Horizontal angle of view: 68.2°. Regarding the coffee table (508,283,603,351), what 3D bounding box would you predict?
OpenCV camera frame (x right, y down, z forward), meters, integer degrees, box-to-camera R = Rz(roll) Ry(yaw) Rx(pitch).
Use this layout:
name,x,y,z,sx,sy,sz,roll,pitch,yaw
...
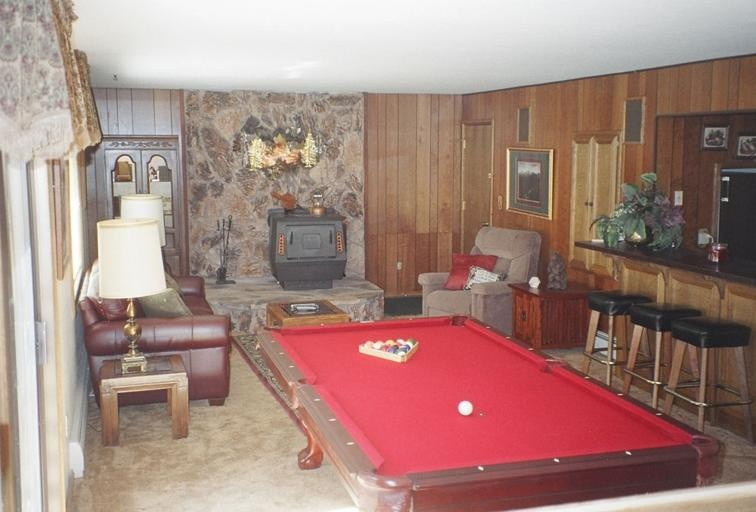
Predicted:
name,x,y,z,sx,sy,sz,roll,pitch,yaw
coffee table,2.072,0.648,7.041,1.033,0.884,0.959,-2,5,-25

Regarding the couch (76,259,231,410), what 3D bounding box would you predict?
name,x,y,z,sx,sy,sz,roll,pitch,yaw
couch,-2.123,0.739,5.489,1.233,0.944,2.033,-3,10,-19

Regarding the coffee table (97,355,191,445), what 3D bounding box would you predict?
name,x,y,z,sx,sy,sz,roll,pitch,yaw
coffee table,-1.990,1.098,4.781,0.747,0.536,0.717,-2,14,-17

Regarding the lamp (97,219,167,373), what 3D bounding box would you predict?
name,x,y,z,sx,sy,sz,roll,pitch,yaw
lamp,-1.965,0.342,4.405,0.438,1.279,0.495,-10,15,-40

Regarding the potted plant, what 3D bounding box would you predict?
name,x,y,z,sx,sy,sz,roll,pitch,yaw
potted plant,2.645,-0.450,5.622,0.771,0.751,0.374,4,12,22

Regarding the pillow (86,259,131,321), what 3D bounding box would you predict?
name,x,y,z,sx,sy,sz,roll,pitch,yaw
pillow,-2.247,0.311,4.645,0.221,0.211,0.634,-3,49,-32

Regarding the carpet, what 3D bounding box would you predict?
name,x,y,z,sx,sy,sz,roll,pitch,yaw
carpet,-0.945,1.158,4.768,0.205,0.024,1.039,3,19,-33
